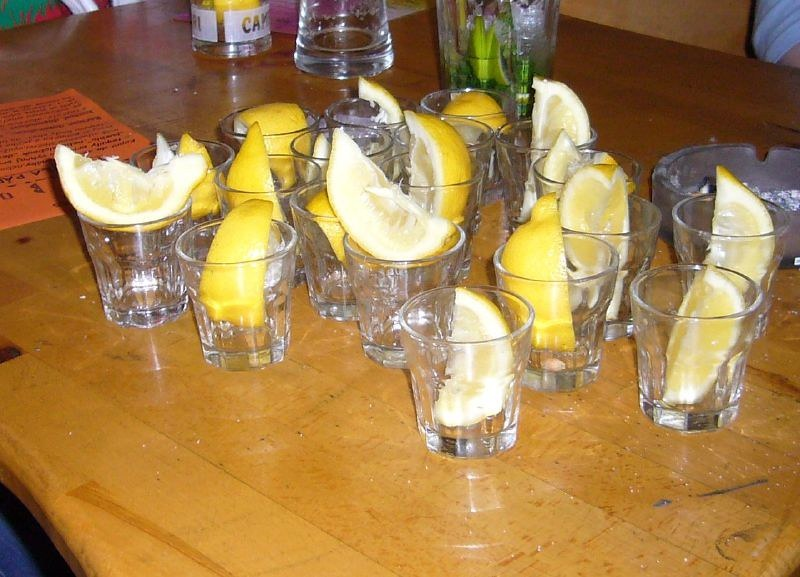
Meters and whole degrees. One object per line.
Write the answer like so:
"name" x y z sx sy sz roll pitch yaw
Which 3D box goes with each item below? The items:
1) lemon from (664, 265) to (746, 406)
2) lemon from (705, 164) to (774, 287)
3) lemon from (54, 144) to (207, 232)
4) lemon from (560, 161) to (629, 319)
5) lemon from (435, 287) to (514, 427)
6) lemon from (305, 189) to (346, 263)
"lemon" 0.259 0.040 0.625 0.052 0.106 0.075 14 37 22
"lemon" 0.326 -0.068 0.725 0.065 0.135 0.023 19 83 34
"lemon" -0.279 -0.103 0.744 0.106 0.043 0.112 31 37 31
"lemon" 0.198 -0.064 0.739 0.087 0.054 0.209 18 34 8
"lemon" 0.065 0.057 0.616 0.062 0.087 0.087 4 34 9
"lemon" -0.067 -0.068 0.761 0.059 0.049 0.063 -9 30 -2
